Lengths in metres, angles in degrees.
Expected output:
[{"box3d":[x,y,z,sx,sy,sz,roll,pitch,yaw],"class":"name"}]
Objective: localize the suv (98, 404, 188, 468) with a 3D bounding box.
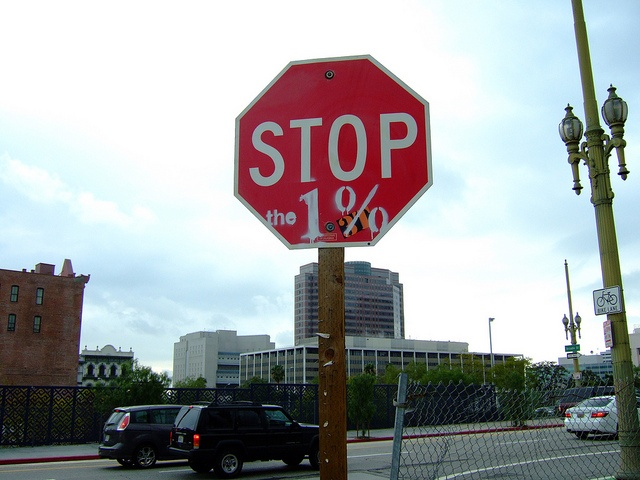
[{"box3d":[-5.546,6.150,18.079,2.563,1.288,1.563,4,-11,-31],"class":"suv"}]
